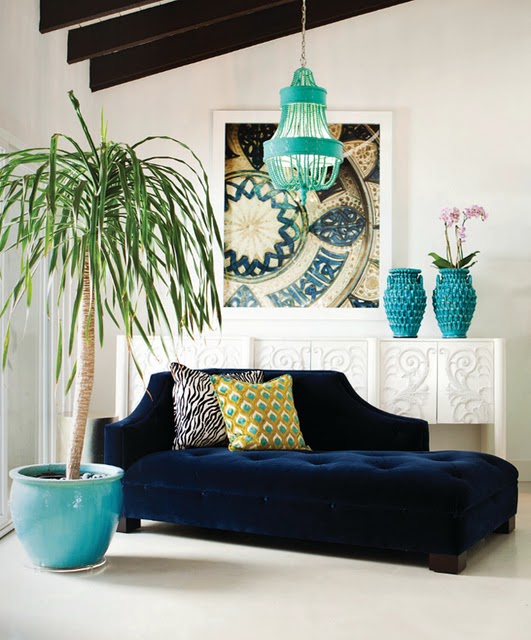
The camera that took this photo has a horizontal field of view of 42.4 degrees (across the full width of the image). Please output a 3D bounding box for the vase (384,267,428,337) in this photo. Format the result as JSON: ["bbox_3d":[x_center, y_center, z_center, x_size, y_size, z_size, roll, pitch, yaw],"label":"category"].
[{"bbox_3d":[0.896,-0.121,4.429,0.254,0.458,0.173,0,-3,11],"label":"vase"}]

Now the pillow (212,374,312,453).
[{"bbox_3d":[-0.054,0.383,3.606,0.521,0.349,0.473,-6,28,-19],"label":"pillow"}]

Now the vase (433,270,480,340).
[{"bbox_3d":[1.175,-0.099,4.428,0.337,0.609,0.355,0,-4,3],"label":"vase"}]

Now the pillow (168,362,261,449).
[{"bbox_3d":[-0.268,0.449,3.501,0.335,0.362,0.134,2,-21,-20],"label":"pillow"}]

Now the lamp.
[{"bbox_3d":[0.187,-1.276,3.700,0.359,1.406,1.224,1,-3,0],"label":"lamp"}]

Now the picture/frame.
[{"bbox_3d":[0.298,-0.664,4.501,1.193,1.685,0.072,1,2,3],"label":"picture/frame"}]

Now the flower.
[{"bbox_3d":[1.271,-0.569,4.543,0.377,0.472,0.397,0,-3,18],"label":"flower"}]
